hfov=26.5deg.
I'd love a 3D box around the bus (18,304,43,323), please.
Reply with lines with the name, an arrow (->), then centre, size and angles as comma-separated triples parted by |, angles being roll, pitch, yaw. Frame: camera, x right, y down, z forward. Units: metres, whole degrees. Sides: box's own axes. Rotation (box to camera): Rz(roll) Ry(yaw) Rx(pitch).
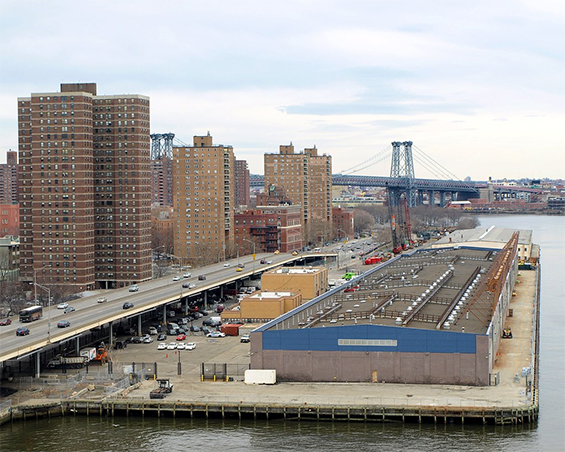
bus -> -21.897, 7.653, 104.876 | 0.971, 0.996, 2.531 | -1, -3, 6

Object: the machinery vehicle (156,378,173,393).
machinery vehicle -> -8.916, 12.023, 91.189 | 0.780, 0.662, 1.281 | 4, 8, 7
